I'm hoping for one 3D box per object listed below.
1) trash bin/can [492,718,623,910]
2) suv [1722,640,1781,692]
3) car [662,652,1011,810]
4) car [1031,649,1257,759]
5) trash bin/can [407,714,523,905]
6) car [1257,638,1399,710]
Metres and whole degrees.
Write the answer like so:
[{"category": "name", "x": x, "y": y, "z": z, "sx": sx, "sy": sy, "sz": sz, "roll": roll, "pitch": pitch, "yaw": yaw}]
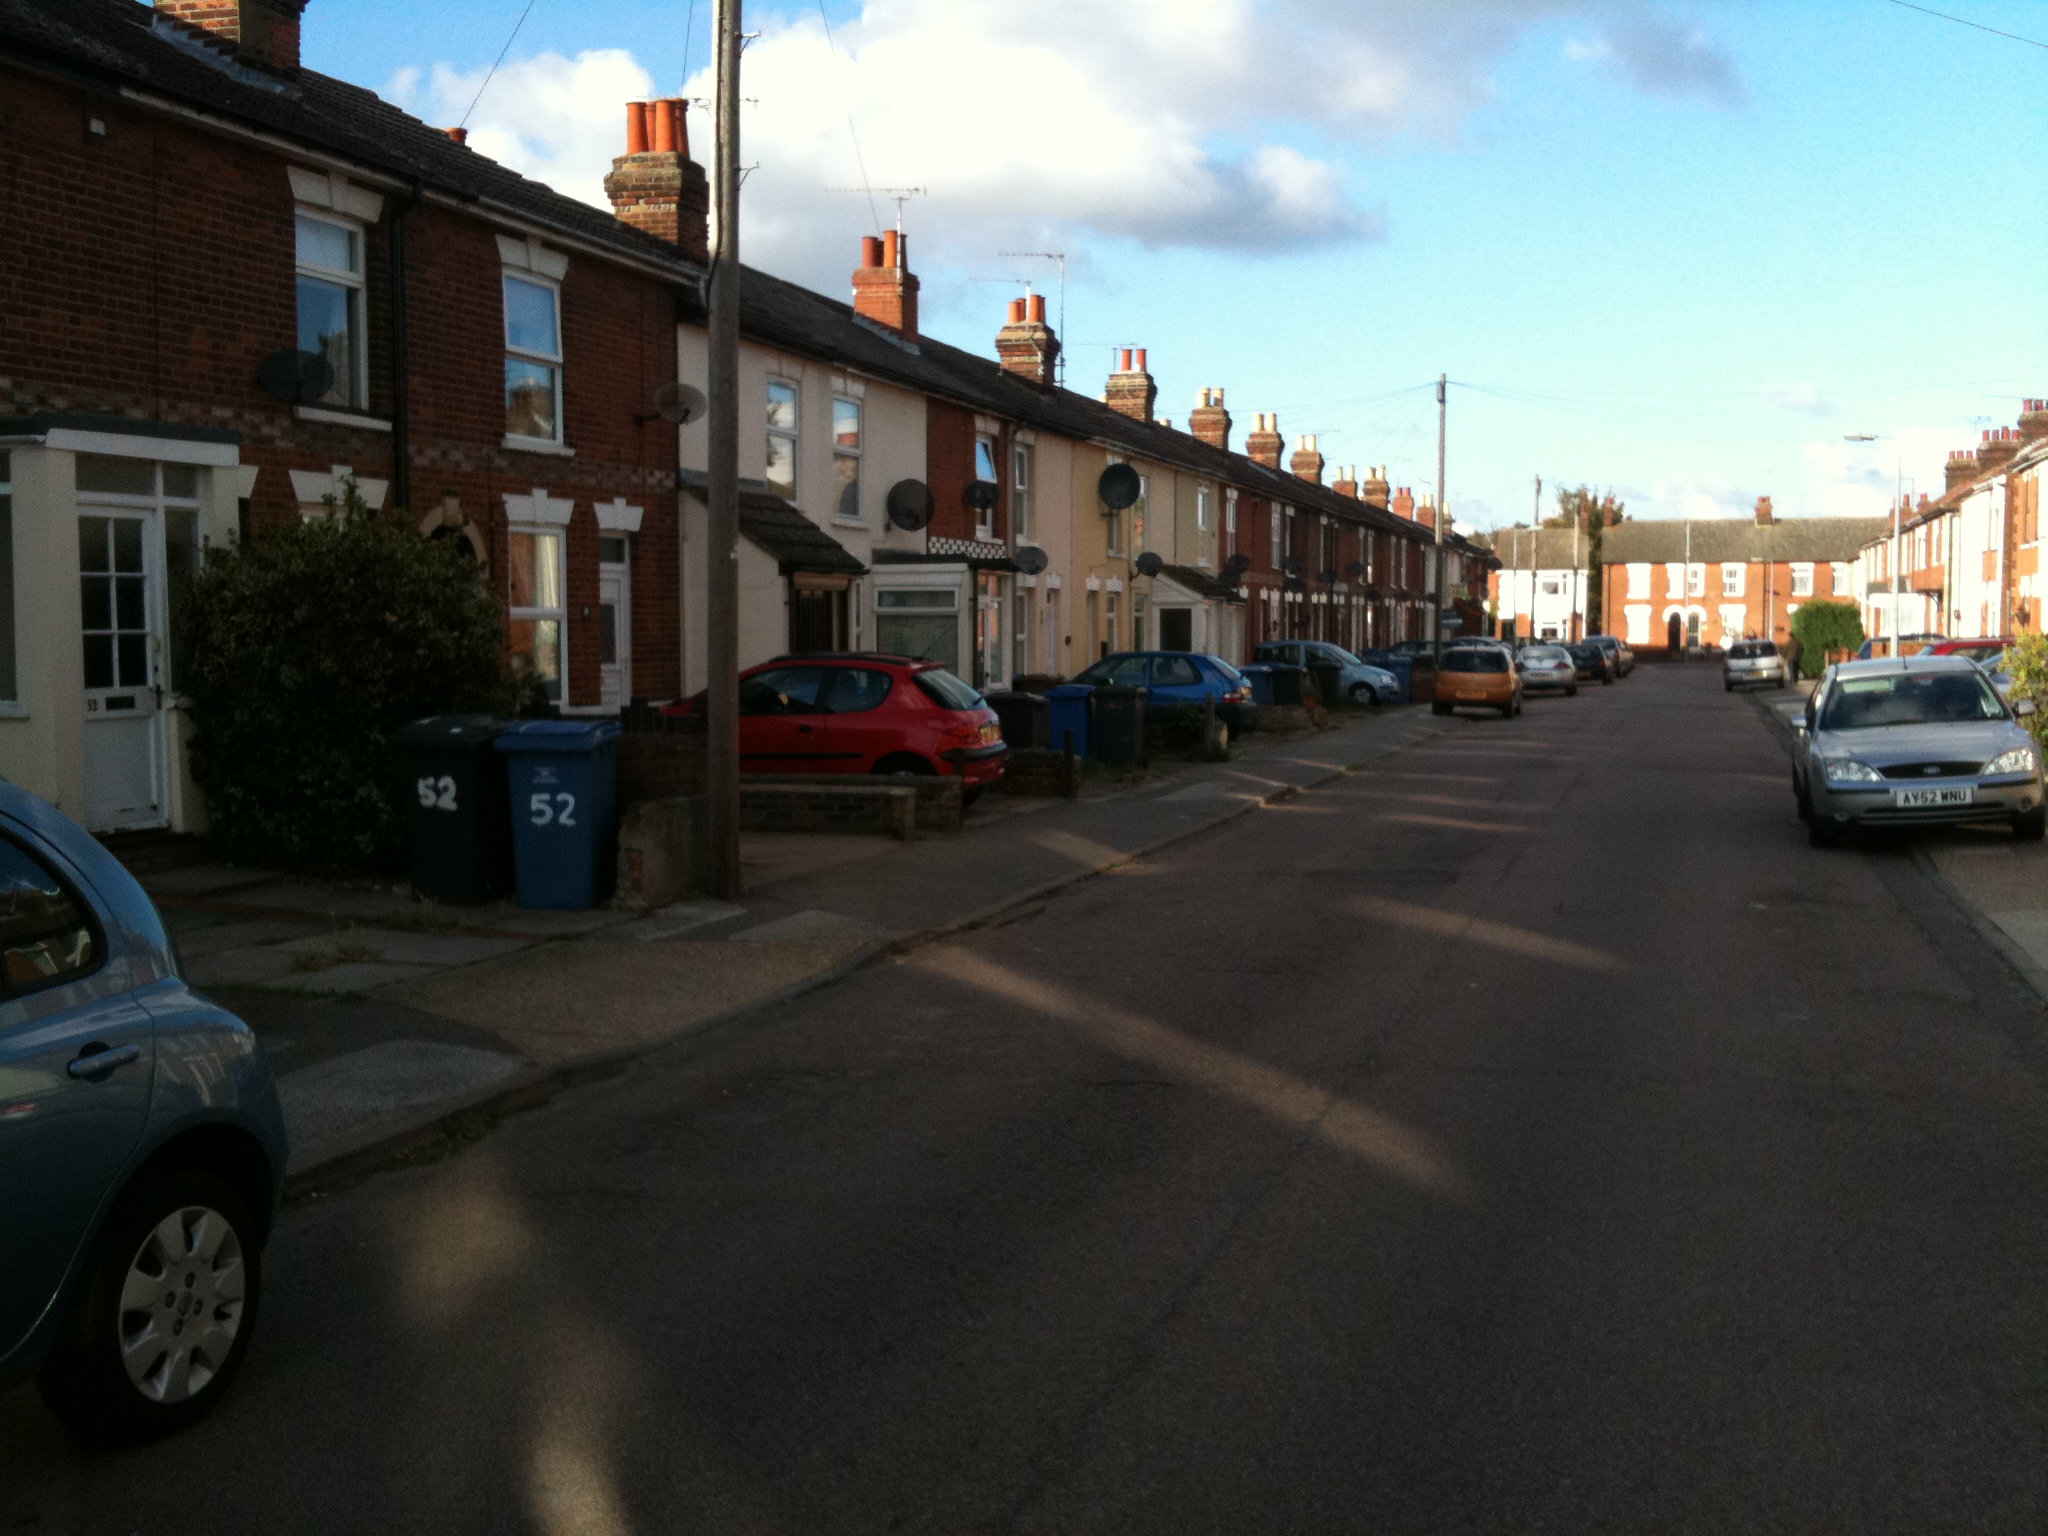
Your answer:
[{"category": "trash bin/can", "x": -3.548, "y": 0.241, "z": 14.416, "sx": 0.801, "sy": 1.381, "sz": 0.755, "roll": -3, "pitch": 19, "yaw": -15}, {"category": "suv", "x": 23.473, "y": -3.325, "z": 61.024, "sx": 1.049, "sy": 1.041, "sz": 2.417, "roll": 0, "pitch": 15, "yaw": 21}, {"category": "car", "x": -1.630, "y": -0.453, "z": 19.516, "sx": 2.594, "sy": 1.453, "sz": 1.190, "roll": -2, "pitch": 7, "yaw": -7}, {"category": "car", "x": 2.359, "y": -0.961, "z": 29.847, "sx": 2.441, "sy": 1.455, "sz": 5.873, "roll": 0, "pitch": 8, "yaw": 7}, {"category": "trash bin/can", "x": -4.279, "y": 0.297, "z": 14.472, "sx": 0.743, "sy": 1.306, "sz": 0.834, "roll": 1, "pitch": 4, "yaw": 31}, {"category": "car", "x": 7.313, "y": -2.264, "z": 45.595, "sx": 2.435, "sy": 1.529, "sz": 5.445, "roll": 3, "pitch": 9, "yaw": 30}]
